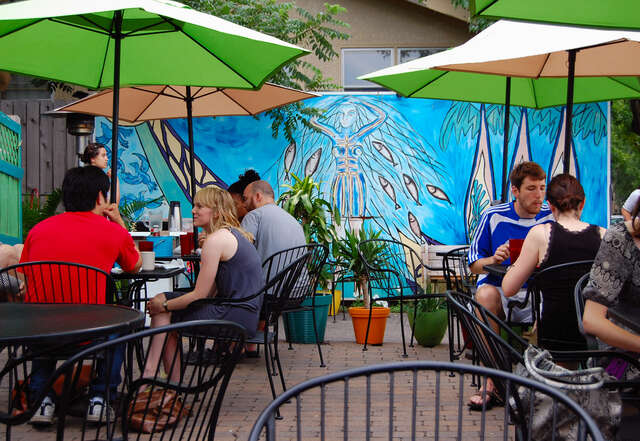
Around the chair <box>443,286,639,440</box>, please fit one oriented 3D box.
[{"bbox_3d":[1.146,0.682,3.650,0.738,1.108,0.719,-4,0,2],"label":"chair"}]

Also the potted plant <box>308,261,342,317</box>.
[{"bbox_3d":[0.119,0.817,7.965,0.525,0.776,0.549,1,1,-1],"label":"potted plant"}]

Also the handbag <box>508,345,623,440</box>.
[{"bbox_3d":[1.204,0.856,3.370,0.446,0.463,0.230,11,29,16],"label":"handbag"}]

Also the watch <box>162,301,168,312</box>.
[{"bbox_3d":[-1.099,0.612,4.899,0.040,0.063,0.064,-10,44,-18],"label":"watch"}]

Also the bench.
[{"bbox_3d":[1.428,0.591,8.103,0.571,0.818,0.599,-1,-10,5],"label":"bench"}]

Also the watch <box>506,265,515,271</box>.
[{"bbox_3d":[1.340,0.334,4.845,0.033,0.046,0.028,18,25,36],"label":"watch"}]

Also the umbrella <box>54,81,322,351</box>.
[{"bbox_3d":[-1.118,-0.112,6.357,2.526,1.701,2.499,-4,-7,10],"label":"umbrella"}]

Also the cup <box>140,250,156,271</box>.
[{"bbox_3d":[-1.308,0.308,5.217,0.120,0.135,0.120,0,-3,0],"label":"cup"}]

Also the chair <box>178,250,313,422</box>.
[{"bbox_3d":[-0.463,0.792,5.627,0.929,1.477,1.053,1,0,8],"label":"chair"}]

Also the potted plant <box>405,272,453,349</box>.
[{"bbox_3d":[1.047,0.986,6.913,0.486,0.645,0.438,0,-3,2],"label":"potted plant"}]

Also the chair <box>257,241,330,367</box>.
[{"bbox_3d":[-0.269,0.759,6.067,0.590,0.940,0.736,-8,-11,-9],"label":"chair"}]

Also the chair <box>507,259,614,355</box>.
[{"bbox_3d":[1.592,0.575,4.624,0.492,0.775,0.538,0,3,4],"label":"chair"}]
